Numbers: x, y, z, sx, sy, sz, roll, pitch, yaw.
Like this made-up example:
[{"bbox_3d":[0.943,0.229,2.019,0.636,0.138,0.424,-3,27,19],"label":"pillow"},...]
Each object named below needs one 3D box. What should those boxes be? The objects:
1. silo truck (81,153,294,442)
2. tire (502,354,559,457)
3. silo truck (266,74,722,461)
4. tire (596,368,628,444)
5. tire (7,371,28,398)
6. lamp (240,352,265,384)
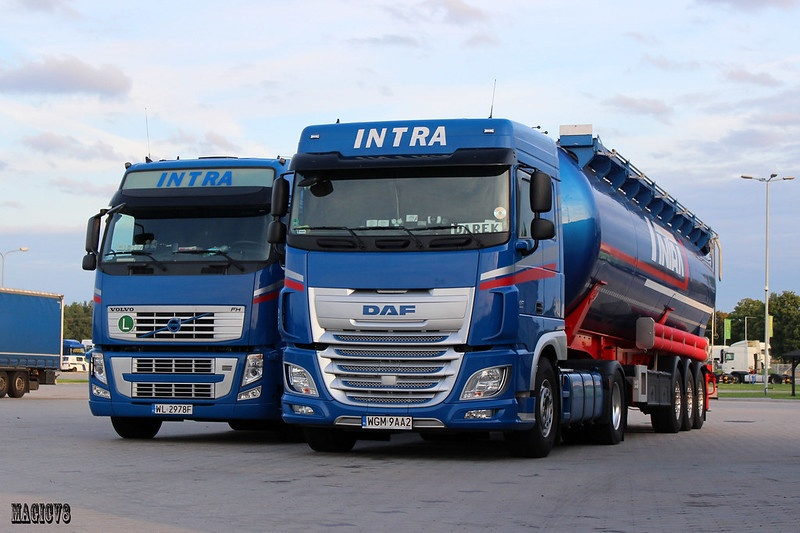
[{"bbox_3d":[-3.727,0.466,15.490,3.330,4.231,0.895,0,0,6],"label":"silo truck"},{"bbox_3d":[1.980,2.130,13.536,0.571,1.481,1.658,-6,-17,24],"label":"tire"},{"bbox_3d":[2.025,0.769,18.991,4.564,5.169,13.255,-3,-7,29],"label":"silo truck"},{"bbox_3d":[4.088,2.692,17.080,0.544,1.406,1.590,-6,-12,27],"label":"tire"},{"bbox_3d":[-15.788,4.813,36.126,0.380,1.010,1.132,-8,-12,20],"label":"tire"},{"bbox_3d":[-2.525,1.758,15.135,0.411,0.479,0.188,8,-2,0],"label":"lamp"}]
